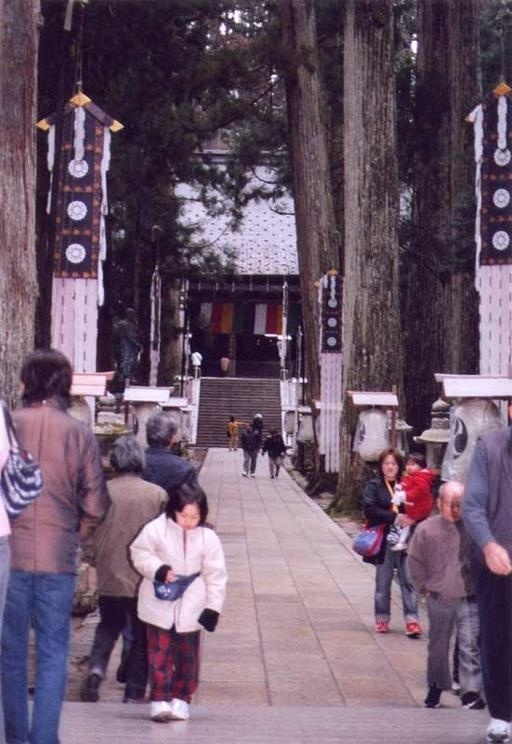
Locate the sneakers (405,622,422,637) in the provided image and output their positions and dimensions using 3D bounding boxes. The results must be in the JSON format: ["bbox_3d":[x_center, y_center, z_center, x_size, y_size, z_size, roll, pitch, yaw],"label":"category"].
[{"bbox_3d":[0.980,1.575,8.479,0.047,0.065,0.131,1,-16,-4],"label":"sneakers"}]

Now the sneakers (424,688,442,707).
[{"bbox_3d":[0.904,1.637,7.011,0.079,0.097,0.168,1,0,6],"label":"sneakers"}]

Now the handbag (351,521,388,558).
[{"bbox_3d":[0.686,1.044,8.531,0.157,0.189,0.191,1,0,-43],"label":"handbag"}]

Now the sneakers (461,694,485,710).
[{"bbox_3d":[1.082,1.648,6.908,0.090,0.051,0.129,-35,5,-32],"label":"sneakers"}]

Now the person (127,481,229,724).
[{"bbox_3d":[-0.362,1.070,6.524,0.439,0.938,0.333,1,0,-7],"label":"person"}]

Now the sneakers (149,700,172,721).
[{"bbox_3d":[-0.423,1.556,6.394,0.046,0.073,0.149,3,-25,-12],"label":"sneakers"}]

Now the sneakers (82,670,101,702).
[{"bbox_3d":[-0.822,1.547,6.975,0.068,0.194,0.075,5,-4,-2],"label":"sneakers"}]

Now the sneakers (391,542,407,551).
[{"bbox_3d":[0.886,1.052,8.412,0.101,0.094,0.038,2,-9,13],"label":"sneakers"}]

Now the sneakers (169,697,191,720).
[{"bbox_3d":[-0.353,1.571,6.483,0.082,0.054,0.130,2,-7,-11],"label":"sneakers"}]

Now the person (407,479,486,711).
[{"bbox_3d":[1.013,1.123,7.061,0.388,1.259,0.396,2,19,17],"label":"person"}]
